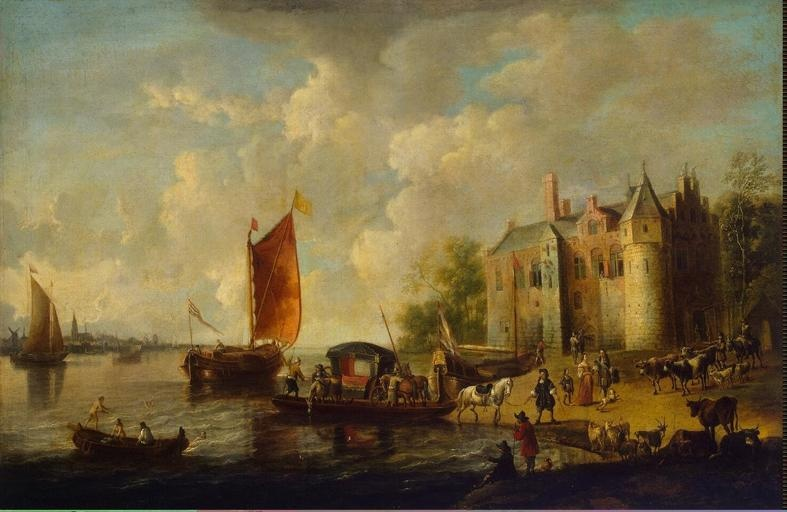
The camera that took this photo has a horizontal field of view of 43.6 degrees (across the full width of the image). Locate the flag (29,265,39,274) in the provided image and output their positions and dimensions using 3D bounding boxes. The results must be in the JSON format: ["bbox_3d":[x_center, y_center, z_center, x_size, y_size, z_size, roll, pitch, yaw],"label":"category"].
[{"bbox_3d":[-9.729,0.358,26.831,0.239,0.237,0.045,0,-7,-16],"label":"flag"}]

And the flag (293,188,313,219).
[{"bbox_3d":[-2.466,-1.407,26.802,0.810,0.974,0.110,4,-11,-9],"label":"flag"}]

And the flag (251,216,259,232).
[{"bbox_3d":[-3.757,-0.868,26.793,0.208,0.384,0.045,-1,-7,-6],"label":"flag"}]
